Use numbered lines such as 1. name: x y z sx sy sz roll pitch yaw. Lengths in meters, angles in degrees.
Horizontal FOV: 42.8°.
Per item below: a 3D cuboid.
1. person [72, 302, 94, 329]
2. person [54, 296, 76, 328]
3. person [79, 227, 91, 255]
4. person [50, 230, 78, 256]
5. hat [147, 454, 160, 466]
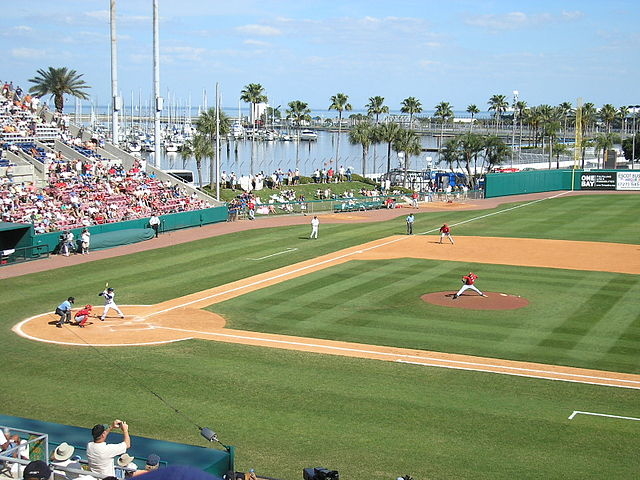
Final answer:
1. person: -10.802 3.253 36.904 0.803 0.999 1.637 -5 15 -17
2. person: -11.752 3.318 37.555 0.902 1.292 0.722 7 39 -41
3. person: -15.234 0.035 52.716 0.637 1.556 0.996 -5 16 -17
4. person: -16.449 0.064 52.295 1.210 1.517 1.217 4 15 14
5. hat: -4.447 5.880 21.815 0.329 0.116 0.414 4 7 6
